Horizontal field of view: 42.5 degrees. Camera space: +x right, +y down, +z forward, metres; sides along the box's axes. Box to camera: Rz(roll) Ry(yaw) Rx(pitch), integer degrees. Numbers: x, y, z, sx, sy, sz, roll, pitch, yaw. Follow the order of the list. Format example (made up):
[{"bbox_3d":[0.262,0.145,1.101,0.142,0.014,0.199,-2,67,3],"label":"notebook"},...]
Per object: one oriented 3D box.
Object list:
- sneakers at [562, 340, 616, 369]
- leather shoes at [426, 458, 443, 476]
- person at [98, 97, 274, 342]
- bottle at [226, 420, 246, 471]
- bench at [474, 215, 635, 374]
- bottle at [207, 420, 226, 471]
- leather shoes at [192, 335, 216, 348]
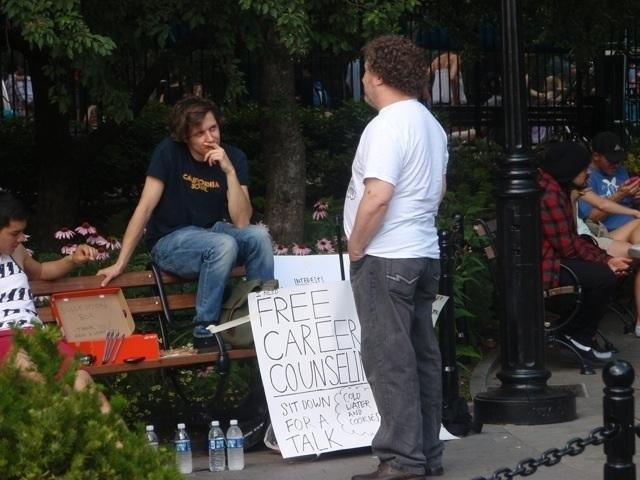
[{"bbox_3d":[2.475,1.013,7.649,0.211,0.255,0.565,-1,9,-42],"label":"sneakers"},{"bbox_3d":[0.727,1.425,5.172,0.069,0.082,0.118,-2,7,-28],"label":"leather shoes"},{"bbox_3d":[-0.833,-0.167,6.061,0.985,1.730,0.933,6,6,23],"label":"person"},{"bbox_3d":[-0.572,1.362,5.513,0.118,0.331,0.252,-6,7,-7],"label":"bottle"},{"bbox_3d":[2.372,0.499,8.164,1.305,1.874,1.400,-1,-1,37],"label":"bench"},{"bbox_3d":[-0.700,1.362,5.538,0.118,0.330,0.272,-6,7,-8],"label":"bottle"},{"bbox_3d":[-0.819,0.723,5.771,0.239,0.088,0.076,0,8,33],"label":"leather shoes"}]
